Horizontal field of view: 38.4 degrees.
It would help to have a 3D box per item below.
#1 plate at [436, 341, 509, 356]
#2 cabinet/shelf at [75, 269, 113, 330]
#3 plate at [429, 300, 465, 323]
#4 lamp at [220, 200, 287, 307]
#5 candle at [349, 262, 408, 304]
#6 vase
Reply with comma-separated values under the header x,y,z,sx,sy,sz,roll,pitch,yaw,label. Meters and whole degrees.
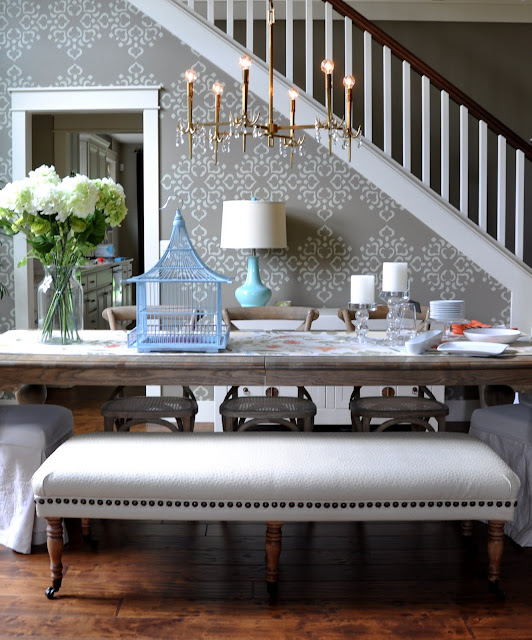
x,y,z,sx,sy,sz,roll,pitch,yaw,label
0.730,0.101,2.681,0.135,0.021,0.103,1,10,38,plate
-1.512,-0.183,6.640,0.221,0.567,0.631,0,5,0,cabinet/shelf
0.694,-0.038,2.956,0.095,0.059,0.098,3,5,33,plate
-0.090,-0.399,4.781,0.543,0.903,0.558,0,3,-2,lamp
0.437,-0.137,2.983,0.213,0.173,0.350,1,6,5,candle
-0.803,-0.076,2.946,0.169,0.310,0.175,7,19,5,vase
